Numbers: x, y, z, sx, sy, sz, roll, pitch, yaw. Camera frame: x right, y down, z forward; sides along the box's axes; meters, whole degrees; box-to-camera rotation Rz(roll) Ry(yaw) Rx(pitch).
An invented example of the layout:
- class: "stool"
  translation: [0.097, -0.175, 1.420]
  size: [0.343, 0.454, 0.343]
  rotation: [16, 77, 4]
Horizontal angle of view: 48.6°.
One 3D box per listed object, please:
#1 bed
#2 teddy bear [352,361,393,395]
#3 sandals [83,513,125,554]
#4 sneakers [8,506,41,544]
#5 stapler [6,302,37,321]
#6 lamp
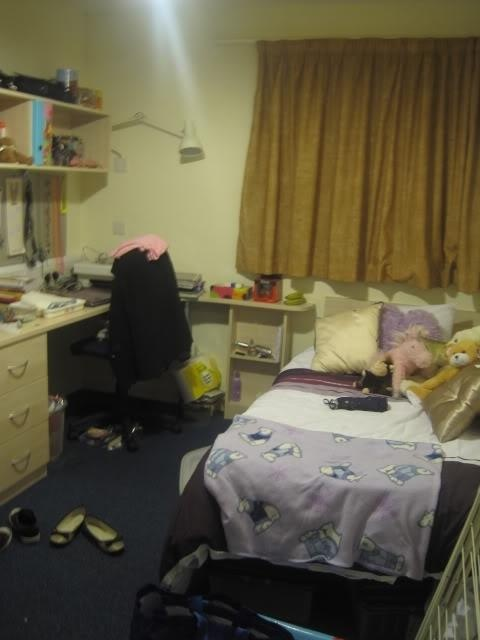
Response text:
- class: "bed"
  translation: [0.378, 0.599, 1.990]
  size: [0.960, 0.336, 0.741]
  rotation: [5, 13, 10]
- class: "teddy bear"
  translation: [0.656, 0.292, 2.570]
  size: [0.186, 0.172, 0.119]
  rotation: [-5, -11, 35]
- class: "sandals"
  translation: [-0.557, 0.868, 2.169]
  size: [0.078, 0.047, 0.201]
  rotation: [-4, 9, -41]
- class: "sneakers"
  translation: [-0.887, 0.840, 2.186]
  size: [0.088, 0.077, 0.148]
  rotation: [-11, 36, -40]
- class: "stapler"
  translation: [-1.047, -0.041, 2.538]
  size: [0.088, 0.038, 0.111]
  rotation: [-6, 11, -44]
- class: "lamp"
  translation: [-0.523, -1.146, 3.336]
  size: [0.651, 0.301, 0.168]
  rotation: [9, 15, 27]
